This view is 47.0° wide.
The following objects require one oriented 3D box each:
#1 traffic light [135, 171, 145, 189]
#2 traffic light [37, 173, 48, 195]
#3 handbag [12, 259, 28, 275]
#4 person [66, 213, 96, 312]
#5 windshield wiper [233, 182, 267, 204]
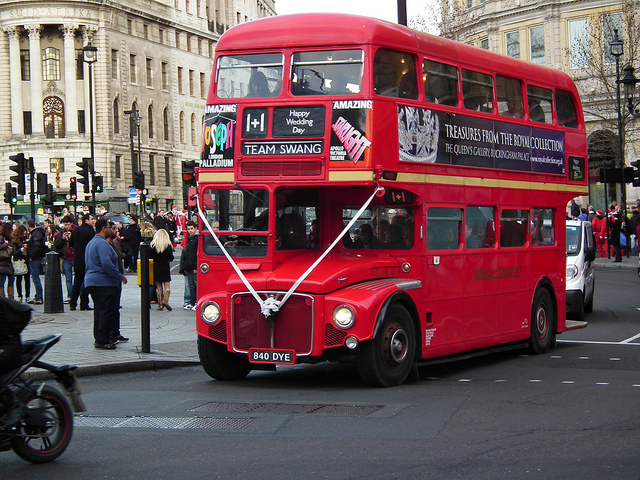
[{"bbox_3d":[-10.842,-3.593,44.075,0.508,0.987,1.238,1,6,-20],"label":"traffic light"},{"bbox_3d":[-12.290,-2.534,32.614,0.374,0.871,0.687,0,6,-29],"label":"traffic light"},{"bbox_3d":[-8.046,0.731,19.833,0.372,0.409,0.384,-1,-2,-10],"label":"handbag"},{"bbox_3d":[-5.687,0.511,17.840,0.794,2.441,0.730,6,10,11],"label":"person"},{"bbox_3d":[-0.961,-0.674,10.340,0.433,0.043,0.058,38,-24,4],"label":"windshield wiper"}]
